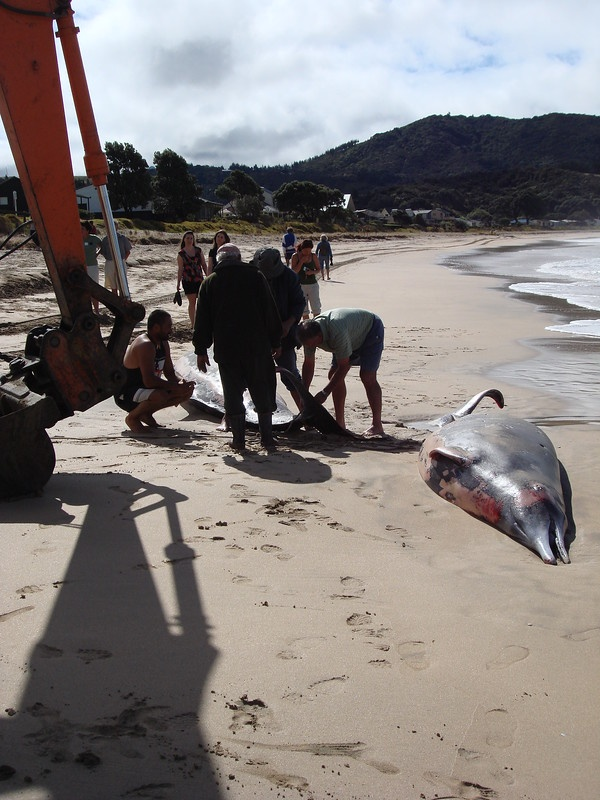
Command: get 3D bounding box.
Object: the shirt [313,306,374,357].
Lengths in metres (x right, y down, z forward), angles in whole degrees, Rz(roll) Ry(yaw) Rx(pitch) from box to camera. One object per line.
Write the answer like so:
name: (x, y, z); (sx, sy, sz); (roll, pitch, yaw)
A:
shirt: (0.358, -0.579, 5.868); (0.358, 0.265, 0.584); (-3, 11, 26)

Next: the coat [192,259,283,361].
coat: (-0.479, -0.667, 5.355); (0.672, 0.757, 0.243); (2, 14, -6)

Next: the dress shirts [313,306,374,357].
dress shirts: (0.384, -0.573, 5.818); (0.358, 0.265, 0.584); (-3, 11, 26)

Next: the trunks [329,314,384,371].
trunks: (0.479, -0.508, 5.969); (0.473, 0.572, 0.372); (13, 20, 33)
